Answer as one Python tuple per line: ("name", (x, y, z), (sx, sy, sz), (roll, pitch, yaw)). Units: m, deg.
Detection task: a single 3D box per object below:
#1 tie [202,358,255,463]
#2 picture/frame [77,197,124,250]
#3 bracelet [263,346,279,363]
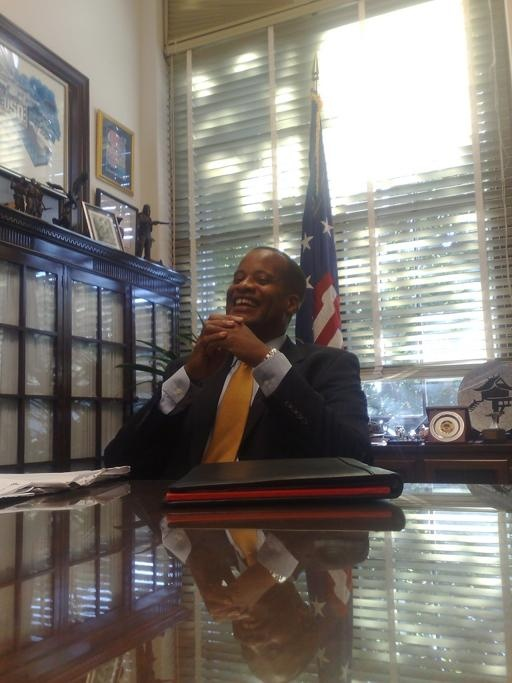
("tie", (-0.052, 0.130, 1.239), (0.095, 0.185, 0.211), (-4, -6, 5))
("picture/frame", (-0.782, -0.588, 3.192), (0.016, 0.304, 0.413), (-21, 5, 14))
("bracelet", (0.027, 0.026, 1.151), (0.023, 0.008, 0.022), (-45, 11, -6))
